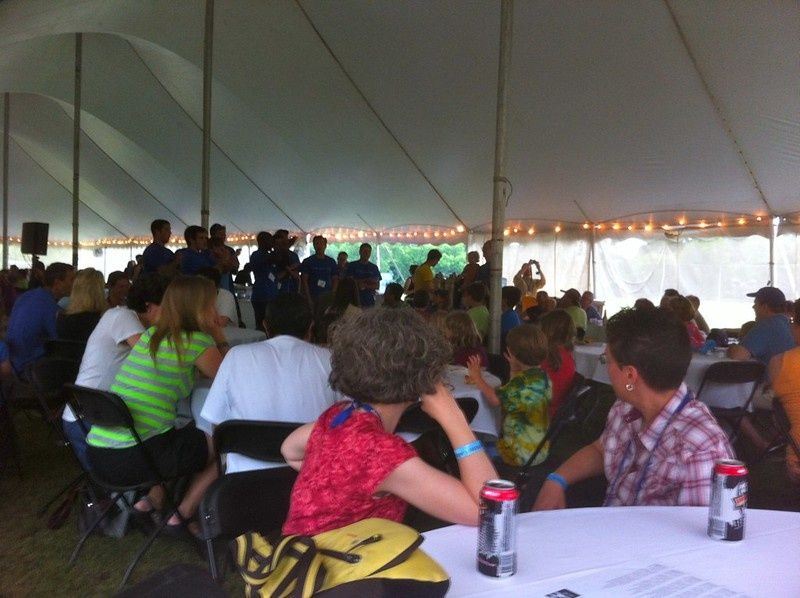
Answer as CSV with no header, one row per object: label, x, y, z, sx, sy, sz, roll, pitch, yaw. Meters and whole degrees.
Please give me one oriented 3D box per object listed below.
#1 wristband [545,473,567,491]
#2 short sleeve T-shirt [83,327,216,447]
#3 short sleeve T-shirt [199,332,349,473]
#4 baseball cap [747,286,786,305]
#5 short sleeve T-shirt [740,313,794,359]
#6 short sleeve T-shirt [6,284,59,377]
wristband,0.712,0.841,2.879,0.095,0.093,0.085,1,13,18
short sleeve T-shirt,-1.430,0.475,3.655,0.479,0.757,0.496,14,7,9
short sleeve T-shirt,-0.636,0.468,3.459,0.543,1.095,0.731,1,9,-12
baseball cap,3.093,-0.034,5.358,0.267,0.162,0.190,7,6,44
short sleeve T-shirt,3.003,0.305,5.167,0.277,0.252,0.150,-7,13,20
short sleeve T-shirt,-2.859,0.260,4.934,0.495,0.696,0.336,25,20,25
